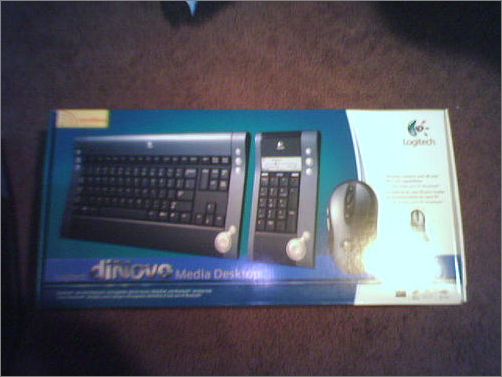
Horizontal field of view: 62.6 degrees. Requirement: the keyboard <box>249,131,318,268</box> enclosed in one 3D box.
[{"bbox_3d":[0.095,0.024,1.178,0.185,0.274,0.266,4,41,6],"label":"keyboard"}]
